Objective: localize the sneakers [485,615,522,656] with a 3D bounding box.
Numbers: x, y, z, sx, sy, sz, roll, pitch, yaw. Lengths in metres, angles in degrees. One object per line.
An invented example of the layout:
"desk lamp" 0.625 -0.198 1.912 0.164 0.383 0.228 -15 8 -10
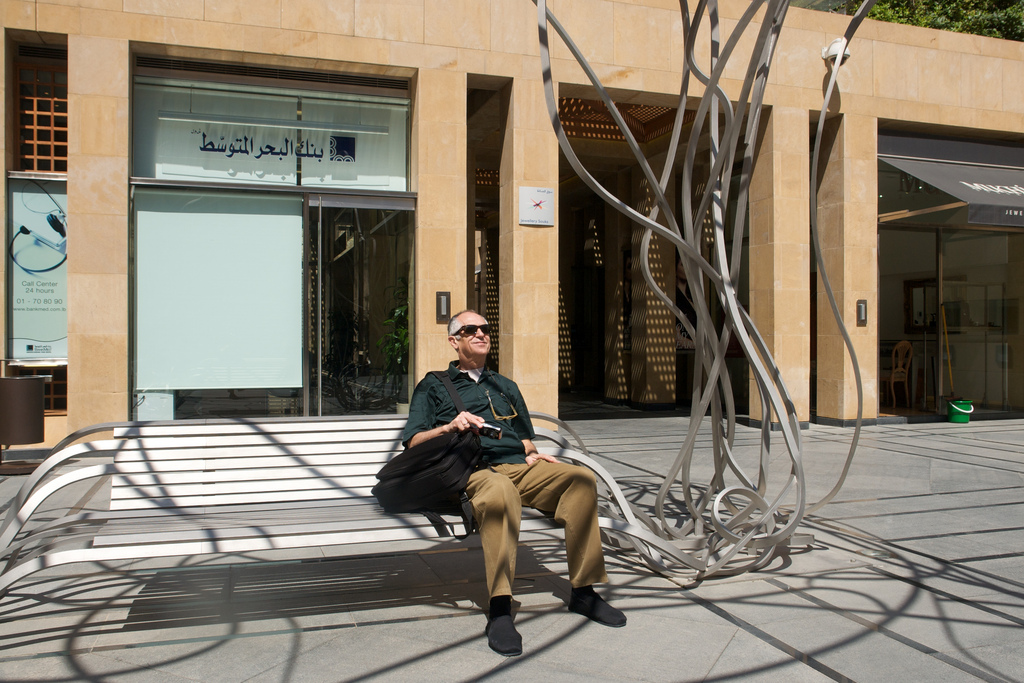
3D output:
"sneakers" -0.060 2.013 5.812 0.204 0.180 0.272 -5 13 -23
